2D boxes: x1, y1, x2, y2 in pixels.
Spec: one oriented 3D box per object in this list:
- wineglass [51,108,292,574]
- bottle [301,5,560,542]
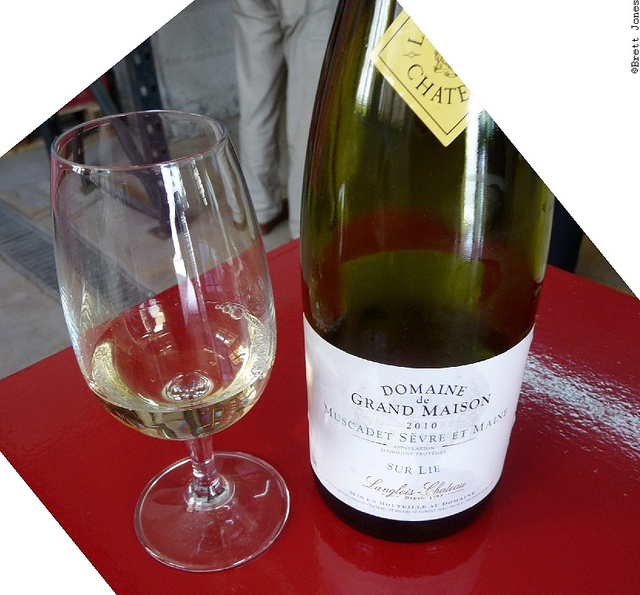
[{"bbox_3d":[-0.100,0.043,0.461,0.123,0.333,0.125,-21,35,-28],"label":"wineglass"},{"bbox_3d":[0.055,-0.013,0.410,0.171,0.317,0.189,12,39,20],"label":"bottle"}]
